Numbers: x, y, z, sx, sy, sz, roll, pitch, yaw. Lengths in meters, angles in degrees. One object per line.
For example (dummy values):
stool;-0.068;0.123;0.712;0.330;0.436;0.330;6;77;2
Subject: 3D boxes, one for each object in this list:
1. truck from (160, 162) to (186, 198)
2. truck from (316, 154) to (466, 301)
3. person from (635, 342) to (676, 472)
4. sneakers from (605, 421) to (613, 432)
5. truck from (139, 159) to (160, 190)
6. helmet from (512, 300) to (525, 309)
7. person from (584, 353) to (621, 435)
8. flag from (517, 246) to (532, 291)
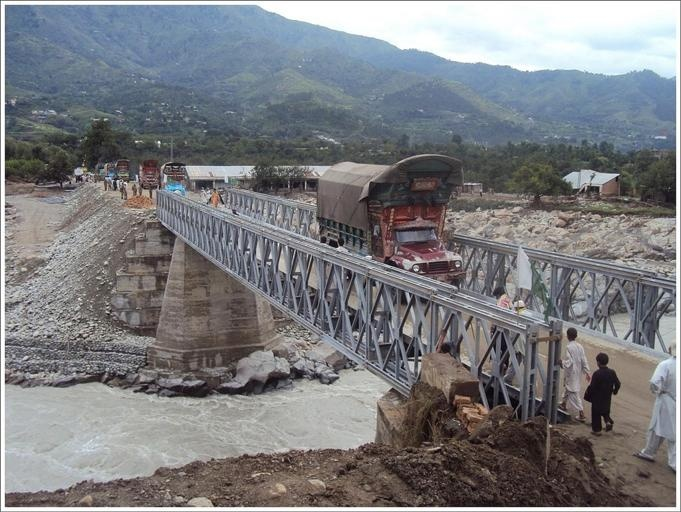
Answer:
truck;-14.312;-6.746;45.272;2.579;2.742;2.051;5;8;19
truck;2.864;-2.008;22.922;3.715;4.619;7.884;-7;13;-32
person;7.388;3.547;12.033;0.675;2.304;0.975;7;9;27
sneakers;6.638;4.217;12.970;0.115;0.325;0.219;2;26;7
truck;-19.974;-8.484;54.743;1.724;3.072;2.292;-1;8;-24
helmet;5.281;1.436;15.551;0.358;0.312;0.456;-5;7;5
person;6.491;3.346;12.998;0.665;2.056;0.829;8;9;33
flag;5.147;0.409;14.643;0.437;1.119;1.212;5;8;19
